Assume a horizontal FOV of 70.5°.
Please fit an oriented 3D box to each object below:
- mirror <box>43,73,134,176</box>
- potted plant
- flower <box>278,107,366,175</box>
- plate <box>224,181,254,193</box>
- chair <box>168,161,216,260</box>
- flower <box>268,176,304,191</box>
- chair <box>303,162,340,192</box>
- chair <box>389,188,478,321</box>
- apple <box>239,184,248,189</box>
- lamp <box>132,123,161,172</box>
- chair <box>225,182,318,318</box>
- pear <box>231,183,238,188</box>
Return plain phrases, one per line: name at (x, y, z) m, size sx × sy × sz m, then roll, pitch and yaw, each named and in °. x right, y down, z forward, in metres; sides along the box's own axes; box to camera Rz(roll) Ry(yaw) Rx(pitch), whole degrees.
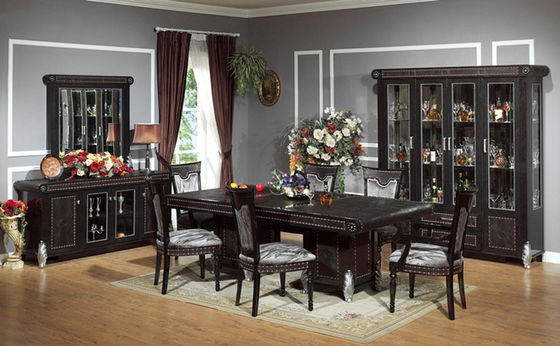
mirror at (-3.236, -0.793, 6.534) m, size 1.779 × 2.086 × 0.272 m, roll -1°, pitch 5°, yaw -35°
potted plant at (-0.666, -2.057, 8.403) m, size 0.937 × 0.897 × 0.924 m, roll 1°, pitch -1°, yaw -26°
flower at (0.803, -0.591, 6.999) m, size 1.259 × 1.096 × 0.503 m, roll 0°, pitch 8°, yaw 4°
plate at (-0.529, 0.180, 4.974) m, size 0.284 × 0.087 × 0.294 m, roll 1°, pitch -2°, yaw -29°
chair at (-1.194, 0.612, 6.530) m, size 1.116 × 1.442 × 1.101 m, roll 4°, pitch -3°, yaw -27°
flower at (0.070, 0.126, 5.269) m, size 0.313 × 0.164 × 0.290 m, roll 2°, pitch 0°, yaw 27°
chair at (0.662, 0.043, 6.429) m, size 0.457 × 0.676 × 0.504 m, roll 3°, pitch 5°, yaw 25°
chair at (1.787, 0.907, 4.674) m, size 0.959 × 1.300 × 0.822 m, roll -2°, pitch -1°, yaw 30°
apple at (-0.491, 0.177, 5.190) m, size 0.094 × 0.065 × 0.118 m, roll 0°, pitch 3°, yaw 3°
lamp at (-2.364, -0.479, 7.045) m, size 0.475 × 0.798 × 0.529 m, roll -4°, pitch 9°, yaw -20°
chair at (-0.147, 0.888, 4.738) m, size 0.974 × 1.298 × 0.850 m, roll 3°, pitch -4°, yaw -18°
pear at (-0.639, 0.170, 5.429) m, size 0.055 × 0.051 × 0.056 m, roll -4°, pitch 33°, yaw 31°
